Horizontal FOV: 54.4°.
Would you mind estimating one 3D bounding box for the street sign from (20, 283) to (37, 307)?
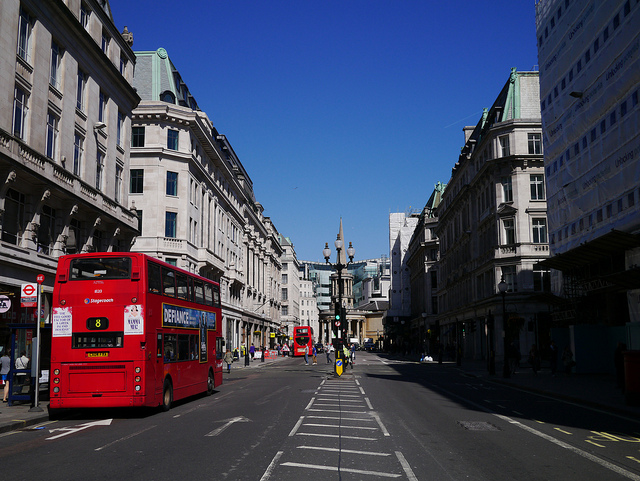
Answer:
[{"bbox_3d":[-10.766,1.992,23.018,0.488,0.703,0.557,1,-17,-13],"label":"street sign"}]

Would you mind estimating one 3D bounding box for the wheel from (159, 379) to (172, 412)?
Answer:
[{"bbox_3d":[-5.801,5.742,23.192,0.295,1.097,0.978,-6,-18,11],"label":"wheel"}]

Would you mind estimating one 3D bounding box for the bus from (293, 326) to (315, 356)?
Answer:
[{"bbox_3d":[-2.326,13.095,84.099,1.716,3.213,5.974,-1,-18,4],"label":"bus"}]

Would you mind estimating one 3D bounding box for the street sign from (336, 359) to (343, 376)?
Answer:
[{"bbox_3d":[1.218,7.863,39.164,0.391,0.946,0.459,-5,-16,7],"label":"street sign"}]

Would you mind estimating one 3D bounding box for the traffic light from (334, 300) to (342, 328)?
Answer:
[{"bbox_3d":[1.219,4.867,41.412,0.494,1.593,1.452,-3,-17,1],"label":"traffic light"}]

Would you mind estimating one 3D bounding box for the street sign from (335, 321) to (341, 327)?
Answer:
[{"bbox_3d":[1.197,5.536,41.414,0.283,0.362,0.069,0,0,-40],"label":"street sign"}]
